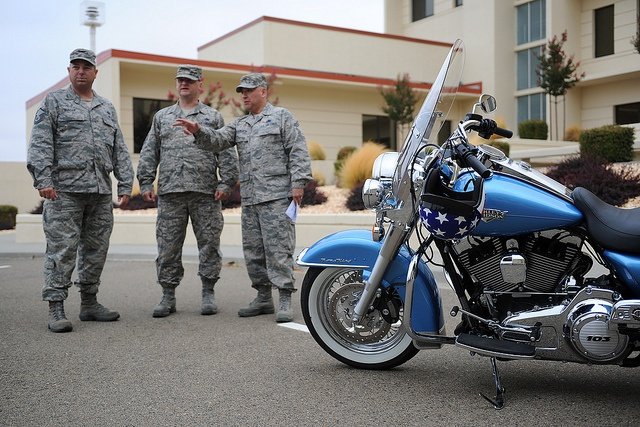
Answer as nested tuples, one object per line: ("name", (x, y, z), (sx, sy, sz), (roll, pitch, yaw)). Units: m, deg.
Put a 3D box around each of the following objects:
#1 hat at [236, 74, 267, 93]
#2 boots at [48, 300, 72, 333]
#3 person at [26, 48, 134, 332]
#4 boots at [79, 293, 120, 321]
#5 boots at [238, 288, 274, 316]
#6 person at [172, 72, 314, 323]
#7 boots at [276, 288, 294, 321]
("hat", (-0.811, -1.553, 7.453), (0.343, 0.164, 0.248), (0, -4, -33))
("boots", (-2.960, 1.158, 6.987), (0.384, 0.323, 0.211), (7, 12, 37))
("person", (-2.764, -0.284, 7.171), (0.666, 3.146, 1.144), (8, 12, 38))
("boots", (-2.566, 1.147, 7.377), (0.603, 0.399, 0.226), (2, -1, -7))
("boots", (-0.783, 1.085, 7.623), (0.497, 0.330, 0.172), (-3, 6, -36))
("person", (-0.620, -0.185, 7.410), (1.053, 2.903, 0.661), (5, 11, 26))
("boots", (-0.408, 1.088, 7.326), (0.207, 0.359, 0.268), (0, 10, -3))
